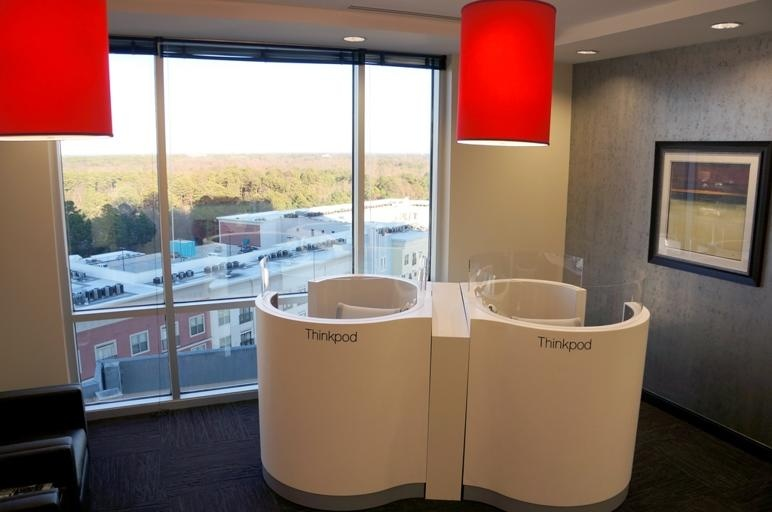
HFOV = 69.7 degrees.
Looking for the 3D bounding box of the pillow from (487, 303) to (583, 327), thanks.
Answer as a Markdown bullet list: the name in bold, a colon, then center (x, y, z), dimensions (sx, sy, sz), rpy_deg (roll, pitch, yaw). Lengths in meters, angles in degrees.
- **pillow**: center (1.586, 0.592, 5.585), dimensions (0.454, 0.165, 0.454), rpy_deg (-5, 12, -17)
